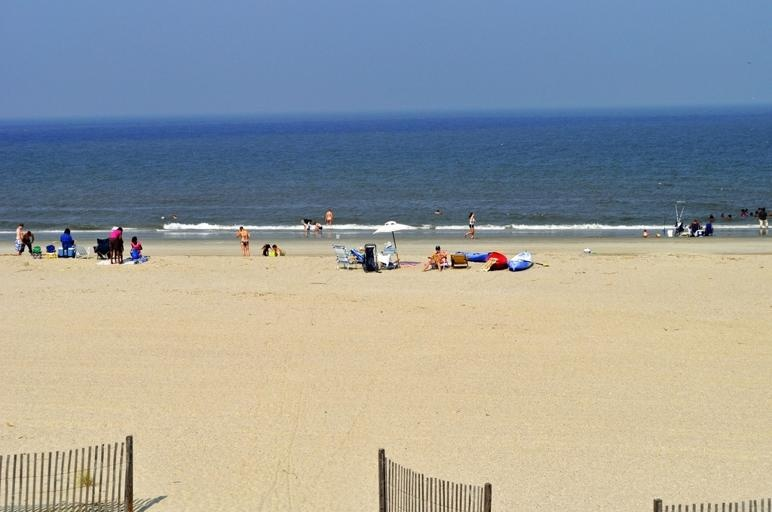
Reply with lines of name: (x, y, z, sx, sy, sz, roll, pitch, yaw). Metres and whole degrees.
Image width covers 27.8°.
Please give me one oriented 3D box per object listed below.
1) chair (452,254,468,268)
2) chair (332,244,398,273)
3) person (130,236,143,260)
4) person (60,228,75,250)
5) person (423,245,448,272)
chair: (3.979, 0.302, 87.782, 0.665, 0.849, 0.616, -1, 14, 15)
chair: (-1.380, 0.139, 88.520, 3.001, 1.012, 1.903, 0, 2, -7)
person: (-14.797, -0.422, 89.611, 0.646, 1.332, 1.260, -6, 7, -10)
person: (-18.967, -0.975, 90.695, 0.705, 1.167, 0.569, -6, 7, -16)
person: (2.693, 0.281, 88.292, 1.086, 0.886, 1.686, -1, 0, 16)
